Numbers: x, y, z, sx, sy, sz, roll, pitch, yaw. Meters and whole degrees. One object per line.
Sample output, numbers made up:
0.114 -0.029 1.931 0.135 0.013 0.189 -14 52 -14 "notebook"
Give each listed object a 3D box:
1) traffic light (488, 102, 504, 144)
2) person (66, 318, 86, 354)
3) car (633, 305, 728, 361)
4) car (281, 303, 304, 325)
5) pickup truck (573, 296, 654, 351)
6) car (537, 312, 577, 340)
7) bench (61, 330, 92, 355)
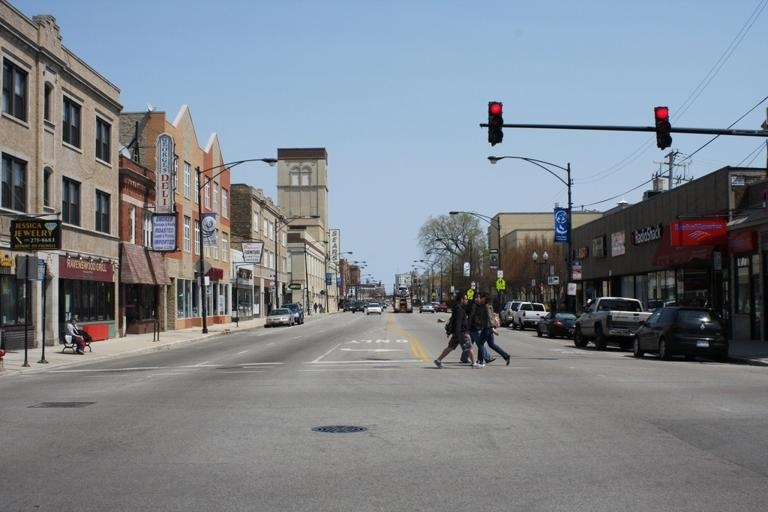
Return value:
3.645 -4.377 25.582 0.423 1.438 0.724 -1 -7 5 "traffic light"
-12.997 3.392 32.988 0.798 1.637 0.692 -10 -16 15 "person"
10.370 2.670 28.034 1.505 1.105 2.695 1 -1 -2 "car"
-7.975 5.044 69.111 1.175 1.171 2.535 -1 -11 2 "car"
9.722 2.852 34.097 1.750 1.513 3.483 1 -1 -11 "pickup truck"
9.531 3.815 42.878 1.315 0.858 2.673 1 0 0 "car"
-13.090 3.709 33.419 1.179 1.177 1.232 -5 -5 22 "bench"
